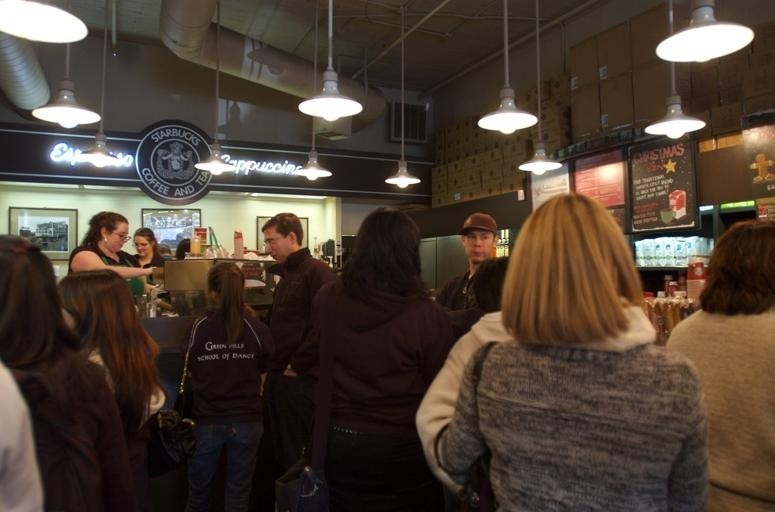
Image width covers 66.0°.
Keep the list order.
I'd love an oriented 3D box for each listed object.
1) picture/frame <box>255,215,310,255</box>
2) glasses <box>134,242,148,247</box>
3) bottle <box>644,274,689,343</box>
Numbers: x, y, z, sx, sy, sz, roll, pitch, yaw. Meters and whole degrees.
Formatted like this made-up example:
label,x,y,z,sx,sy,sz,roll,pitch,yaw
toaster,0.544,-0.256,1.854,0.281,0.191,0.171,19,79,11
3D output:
label,x,y,z,sx,sy,sz,roll,pitch,yaw
picture/frame,-1.662,-0.357,9.879,0.885,0.894,0.035,-1,46,-8
glasses,-2.618,-0.124,6.332,0.068,0.046,0.088,1,-8,5
bottle,1.818,0.332,3.873,0.258,0.343,0.121,-7,-37,26
